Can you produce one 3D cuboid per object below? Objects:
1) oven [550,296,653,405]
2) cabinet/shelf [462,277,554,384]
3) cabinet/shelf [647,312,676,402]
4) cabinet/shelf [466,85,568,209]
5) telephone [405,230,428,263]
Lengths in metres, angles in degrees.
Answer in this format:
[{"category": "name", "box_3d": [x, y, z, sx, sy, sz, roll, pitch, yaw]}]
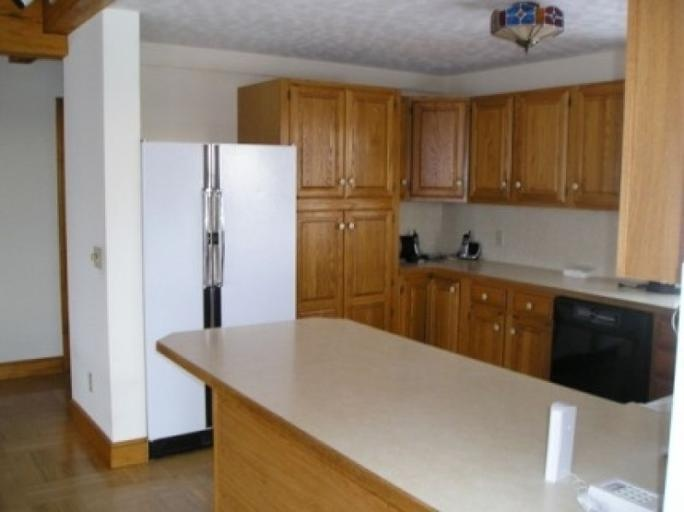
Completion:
[{"category": "oven", "box_3d": [1.677, 0.589, 3.579, 0.314, 0.552, 0.577, -8, 13, -41]}, {"category": "cabinet/shelf", "box_3d": [1.389, 0.620, 4.509, 0.342, 0.805, 0.819, -16, 19, -42]}, {"category": "cabinet/shelf", "box_3d": [1.951, 0.630, 3.400, 0.109, 0.575, 0.289, 3, 9, 15]}, {"category": "cabinet/shelf", "box_3d": [1.549, -0.903, 4.742, 0.373, 0.919, 0.942, -10, 13, -41]}, {"category": "telephone", "box_3d": [0.741, -0.101, 5.441, 0.204, 0.266, 0.495, 2, 9, 9]}]
